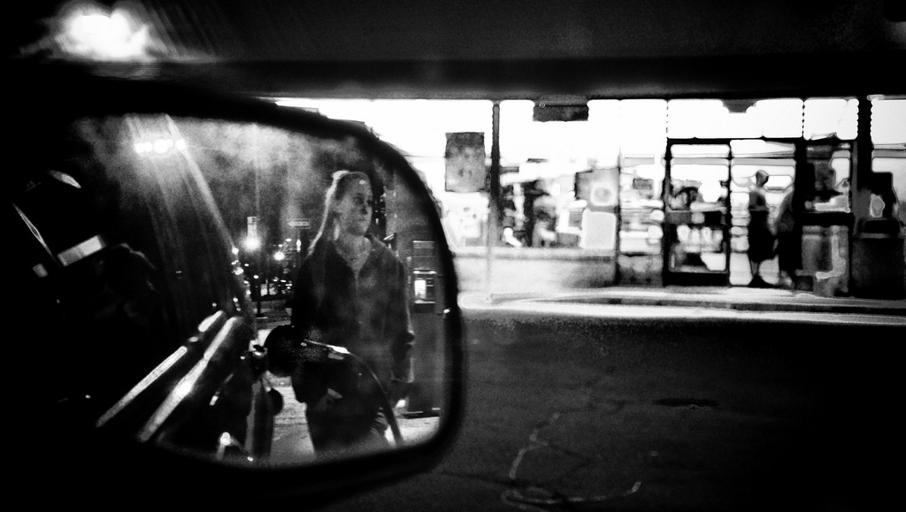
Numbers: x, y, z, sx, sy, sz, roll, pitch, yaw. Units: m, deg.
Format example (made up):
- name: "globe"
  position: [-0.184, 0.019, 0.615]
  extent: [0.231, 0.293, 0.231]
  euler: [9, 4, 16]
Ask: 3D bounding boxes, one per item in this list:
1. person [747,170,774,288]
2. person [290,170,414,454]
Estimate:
- name: "person"
  position: [6.779, -0.595, 15.574]
  extent: [0.400, 2.517, 0.416]
  euler: [-4, 16, -13]
- name: "person"
  position: [-0.704, 0.395, 4.896]
  extent: [0.829, 1.921, 0.506]
  euler: [-2, 16, -6]
